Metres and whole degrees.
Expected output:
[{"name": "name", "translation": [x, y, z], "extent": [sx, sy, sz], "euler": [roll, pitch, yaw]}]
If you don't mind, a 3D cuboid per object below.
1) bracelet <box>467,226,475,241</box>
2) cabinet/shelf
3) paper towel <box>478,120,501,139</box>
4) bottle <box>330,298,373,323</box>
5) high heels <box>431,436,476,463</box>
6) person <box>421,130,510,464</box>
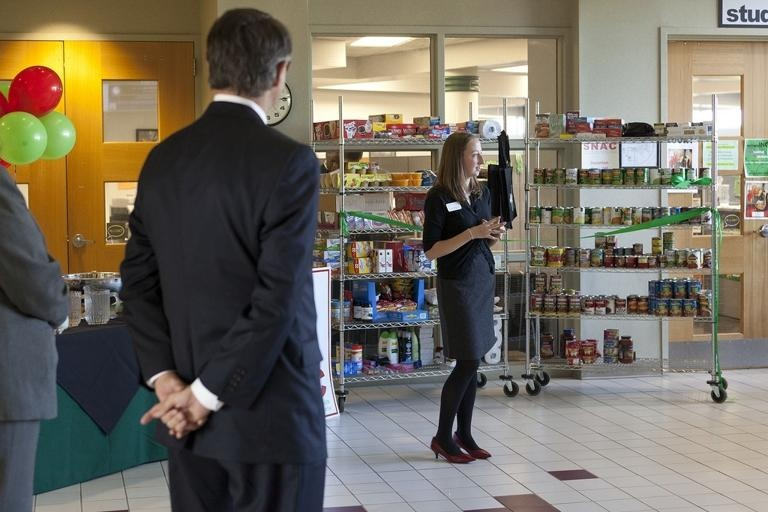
[{"name": "bracelet", "translation": [0.586, -0.141, 4.452], "extent": [0.021, 0.063, 0.067], "euler": [3, -9, -3]}, {"name": "cabinet/shelf", "translation": [1.184, 0.023, 5.837], "extent": [2.998, 2.225, 1.093], "euler": [0, -4, -4]}, {"name": "paper towel", "translation": [0.967, -1.143, 6.035], "extent": [0.183, 0.175, 0.065], "euler": [-12, 12, -30]}, {"name": "bottle", "translation": [-0.272, 0.483, 5.836], "extent": [0.385, 0.214, 0.233], "euler": [-2, 5, -16]}, {"name": "high heels", "translation": [0.438, 1.350, 4.616], "extent": [0.366, 0.173, 0.126], "euler": [1, -2, 30]}, {"name": "person", "translation": [0.536, 0.289, 4.574], "extent": [0.541, 2.258, 0.422], "euler": [-1, 5, -10]}]
